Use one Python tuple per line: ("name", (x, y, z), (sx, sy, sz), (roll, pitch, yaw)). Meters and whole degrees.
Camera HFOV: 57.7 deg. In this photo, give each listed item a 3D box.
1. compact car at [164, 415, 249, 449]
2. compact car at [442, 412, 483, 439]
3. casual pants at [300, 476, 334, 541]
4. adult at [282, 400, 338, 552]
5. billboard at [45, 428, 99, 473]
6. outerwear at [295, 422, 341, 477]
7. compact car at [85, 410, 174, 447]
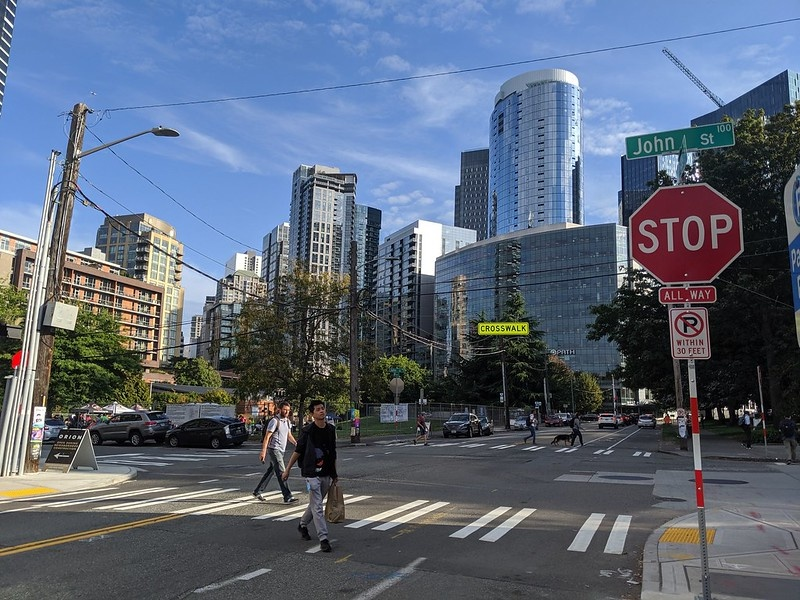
("compact car", (-8.692, 6.013, 32.794), (2.800, 1.086, 1.577), (1, -9, 13))
("compact car", (3.871, 7.674, 44.820), (1.349, 1.496, 2.930), (-10, -14, 31))
("casual pants", (-1.548, 3.832, 13.424), (0.575, 1.130, 0.879), (-1, -11, -9))
("adult", (-1.613, 3.156, 13.312), (1.061, 2.568, 1.555), (2, -9, -24))
("billboard", (-9.615, 4.577, 22.062), (1.968, 1.650, 1.272), (-7, -13, 34))
("outerwear", (-1.558, 2.772, 13.391), (0.718, 1.037, 0.414), (-1, -11, -7))
("compact car", (-13.254, 6.173, 35.356), (3.913, 1.466, 1.752), (-1, -10, 16))
